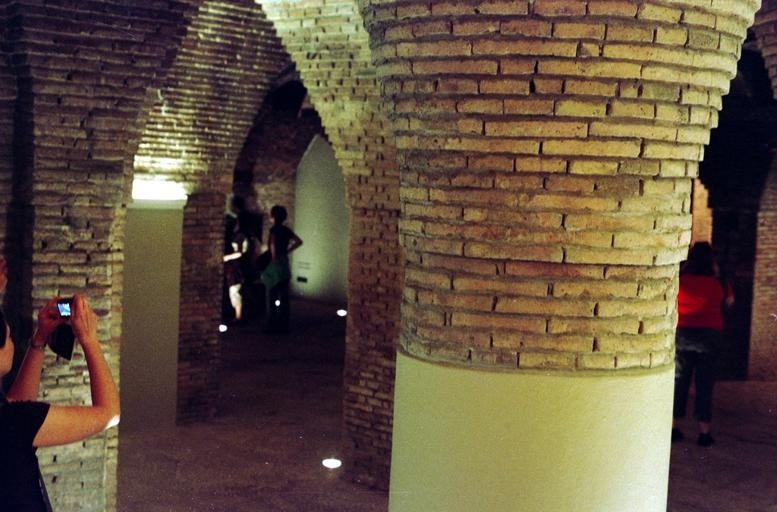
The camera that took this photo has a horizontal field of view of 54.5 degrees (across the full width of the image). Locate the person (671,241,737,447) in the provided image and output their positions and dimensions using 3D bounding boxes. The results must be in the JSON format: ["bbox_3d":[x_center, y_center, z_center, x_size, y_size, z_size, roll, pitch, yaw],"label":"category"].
[{"bbox_3d":[2.929,0.881,7.170,0.394,2.102,0.712,4,11,21],"label":"person"}]

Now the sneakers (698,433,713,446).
[{"bbox_3d":[3.162,1.817,7.528,0.084,0.136,0.215,4,7,38],"label":"sneakers"}]
